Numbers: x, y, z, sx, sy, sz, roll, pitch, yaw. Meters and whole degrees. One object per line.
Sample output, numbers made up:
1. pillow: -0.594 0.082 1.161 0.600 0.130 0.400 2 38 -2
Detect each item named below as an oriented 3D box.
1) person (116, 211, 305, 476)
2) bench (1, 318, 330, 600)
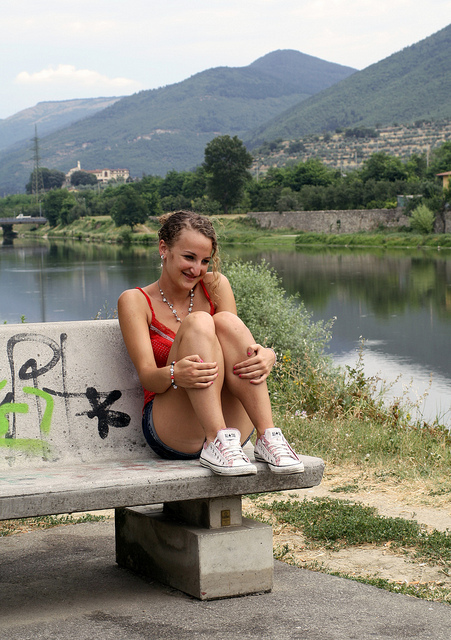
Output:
1. person: -0.093 0.058 2.751 0.553 1.074 0.788 2 -5 -22
2. bench: -0.308 0.607 2.810 1.380 0.790 0.638 3 -4 -33
